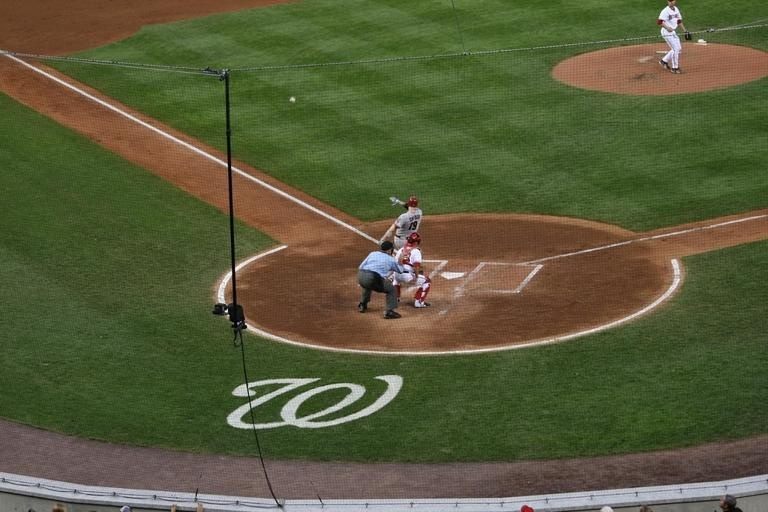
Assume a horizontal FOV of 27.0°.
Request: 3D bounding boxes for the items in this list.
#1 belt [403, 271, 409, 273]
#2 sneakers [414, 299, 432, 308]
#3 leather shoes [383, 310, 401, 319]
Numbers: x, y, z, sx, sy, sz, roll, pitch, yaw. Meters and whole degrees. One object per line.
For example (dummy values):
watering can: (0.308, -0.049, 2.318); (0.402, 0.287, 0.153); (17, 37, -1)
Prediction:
belt: (0.644, 0.484, 45.998); (0.136, 0.051, 0.026); (6, -14, -8)
sneakers: (1.179, 1.418, 45.983); (0.508, 0.266, 0.158); (-6, 45, -9)
leather shoes: (0.261, 1.706, 45.748); (0.481, 0.222, 0.204); (-1, 19, -1)
